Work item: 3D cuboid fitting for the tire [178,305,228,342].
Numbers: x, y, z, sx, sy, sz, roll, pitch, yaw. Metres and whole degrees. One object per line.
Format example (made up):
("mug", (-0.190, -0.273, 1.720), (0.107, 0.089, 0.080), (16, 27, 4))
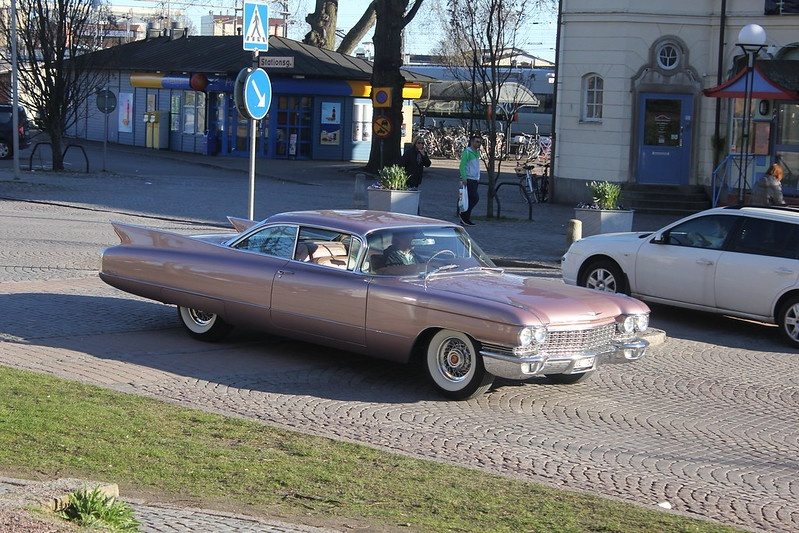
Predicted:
("tire", (-2.410, 0.658, 9.784), (0.593, 0.484, 0.207), (5, 7, 37))

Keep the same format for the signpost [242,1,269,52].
("signpost", (-2.372, -4.239, 13.002), (0.420, 0.860, 0.640), (4, 11, -12))

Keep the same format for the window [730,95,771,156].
("window", (11.516, -4.994, 25.883), (1.124, 1.863, 1.760), (7, 11, 7))

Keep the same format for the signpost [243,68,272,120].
("signpost", (-2.365, -3.112, 13.136), (0.304, 0.892, 0.681), (9, 11, 12))

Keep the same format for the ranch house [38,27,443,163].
("ranch house", (-11.962, -10.756, 48.109), (19.720, 4.803, 12.236), (8, 10, 44))

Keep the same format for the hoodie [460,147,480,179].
("hoodie", (1.884, -3.022, 20.971), (0.512, 0.879, 0.601), (6, 11, 3))

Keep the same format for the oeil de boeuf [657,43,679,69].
("oeil de boeuf", (9.151, -7.799, 27.038), (1.143, 1.048, 0.094), (-2, 8, 2))

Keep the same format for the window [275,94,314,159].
("window", (-5.813, -8.450, 43.766), (2.070, 3.477, 0.688), (4, 12, -8))

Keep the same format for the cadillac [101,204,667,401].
("cadillac", (-0.630, 0.082, 9.401), (5.935, 1.298, 2.410), (8, 11, 30))

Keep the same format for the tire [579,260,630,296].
("tire", (3.356, 0.210, 12.808), (0.309, 0.710, 0.843), (-3, -1, -38))

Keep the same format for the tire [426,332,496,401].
("tire", (0.628, 0.987, 8.091), (0.903, 0.764, 0.326), (5, 7, 38))
